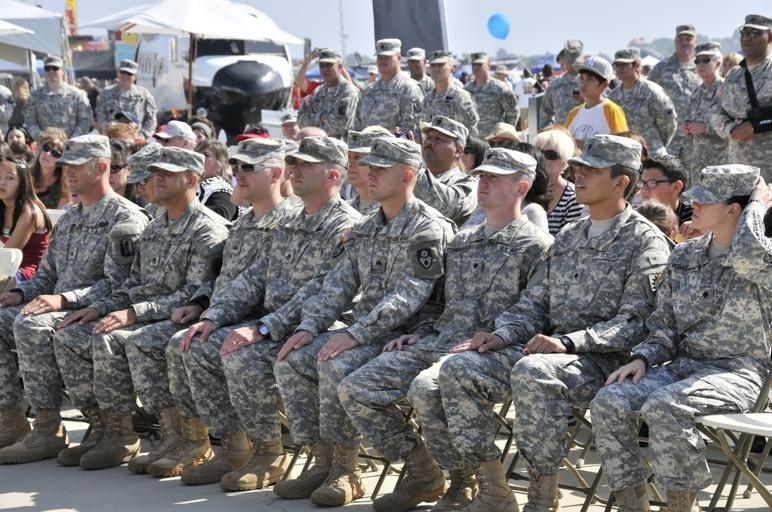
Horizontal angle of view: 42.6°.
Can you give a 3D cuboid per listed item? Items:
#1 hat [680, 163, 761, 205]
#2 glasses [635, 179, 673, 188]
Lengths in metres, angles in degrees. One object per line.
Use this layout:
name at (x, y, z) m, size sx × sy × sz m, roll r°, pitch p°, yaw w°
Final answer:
hat at (2.113, -0.493, 6.232) m, size 0.513 × 0.165 × 0.335 m, roll -6°, pitch 27°, yaw 6°
glasses at (2.048, -0.576, 7.738) m, size 0.158 × 0.040 × 0.149 m, roll 5°, pitch -3°, yaw -38°
